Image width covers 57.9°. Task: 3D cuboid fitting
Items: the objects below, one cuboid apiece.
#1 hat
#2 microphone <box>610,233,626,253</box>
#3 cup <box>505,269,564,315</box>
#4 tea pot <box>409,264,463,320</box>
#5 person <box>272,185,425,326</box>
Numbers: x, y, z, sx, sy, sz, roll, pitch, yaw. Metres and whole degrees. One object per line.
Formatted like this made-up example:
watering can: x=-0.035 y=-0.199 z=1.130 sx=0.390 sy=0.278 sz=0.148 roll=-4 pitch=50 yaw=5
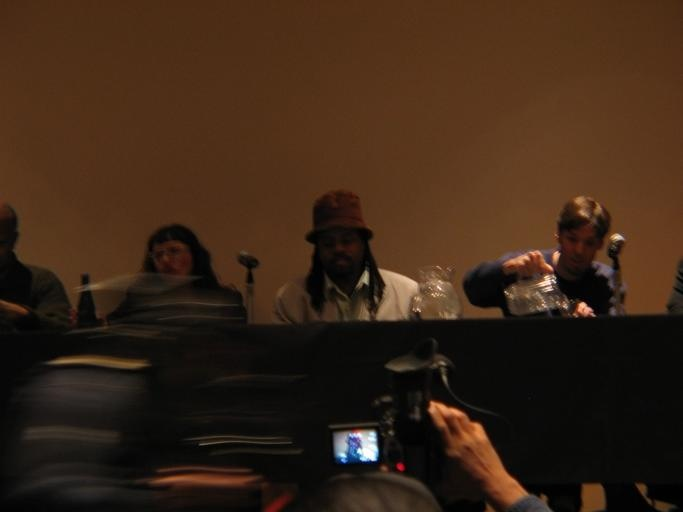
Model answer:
hat: x=0.015 y=-0.237 z=3.474 sx=0.377 sy=0.286 sz=0.399 roll=-13 pitch=-8 yaw=43
microphone: x=0.994 y=-0.046 z=2.316 sx=0.046 sy=0.069 sz=0.067 roll=3 pitch=-32 yaw=12
cup: x=0.658 y=0.138 z=2.139 sx=0.193 sy=0.145 sz=0.131 roll=4 pitch=-13 yaw=-32
tea pot: x=0.342 y=0.145 z=2.183 sx=0.173 sy=0.205 sz=0.179 roll=-4 pitch=-5 yaw=0
person: x=0.093 y=0.046 z=3.514 sx=0.855 sy=0.823 sz=0.514 roll=-2 pitch=3 yaw=3
